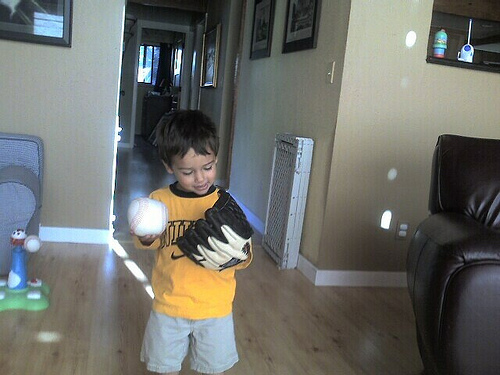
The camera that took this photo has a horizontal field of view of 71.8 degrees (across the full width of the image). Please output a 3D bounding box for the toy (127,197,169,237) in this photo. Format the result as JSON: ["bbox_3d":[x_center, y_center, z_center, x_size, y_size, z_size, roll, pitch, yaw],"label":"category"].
[{"bbox_3d":[-0.351,0.100,1.197,0.111,0.146,0.139,4,-9,-2],"label":"toy"}]

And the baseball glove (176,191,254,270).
[{"bbox_3d":[-0.061,0.124,1.220,0.281,0.098,0.194,-42,11,8],"label":"baseball glove"}]

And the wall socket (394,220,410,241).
[{"bbox_3d":[1.132,0.317,2.635,0.135,0.206,0.026,3,14,-18],"label":"wall socket"}]

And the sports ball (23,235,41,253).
[{"bbox_3d":[-1.257,0.339,2.047,0.085,0.094,0.089,5,-21,2],"label":"sports ball"}]
